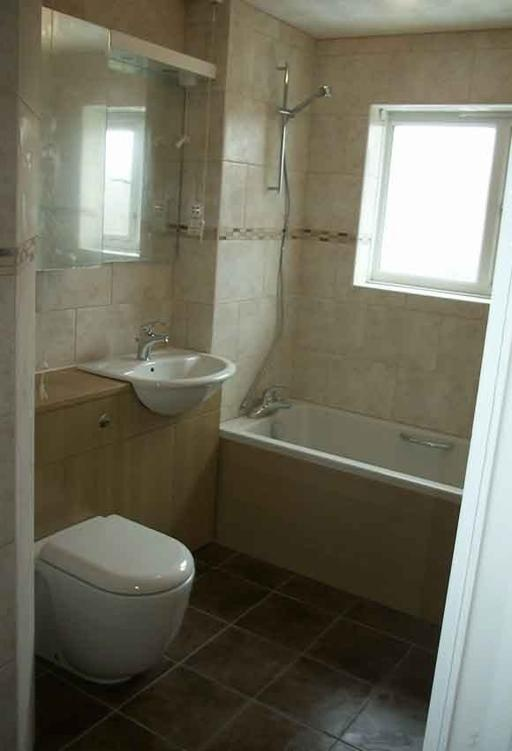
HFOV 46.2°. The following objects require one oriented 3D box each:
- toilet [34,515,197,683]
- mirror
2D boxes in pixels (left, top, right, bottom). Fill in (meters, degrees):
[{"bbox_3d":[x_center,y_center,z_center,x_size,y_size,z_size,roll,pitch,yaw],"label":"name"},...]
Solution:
[{"bbox_3d":[-0.373,0.564,1.566,0.404,0.339,0.327,13,14,22],"label":"toilet"},{"bbox_3d":[-0.365,-0.629,1.537,0.049,0.555,0.518,17,23,19],"label":"mirror"}]
